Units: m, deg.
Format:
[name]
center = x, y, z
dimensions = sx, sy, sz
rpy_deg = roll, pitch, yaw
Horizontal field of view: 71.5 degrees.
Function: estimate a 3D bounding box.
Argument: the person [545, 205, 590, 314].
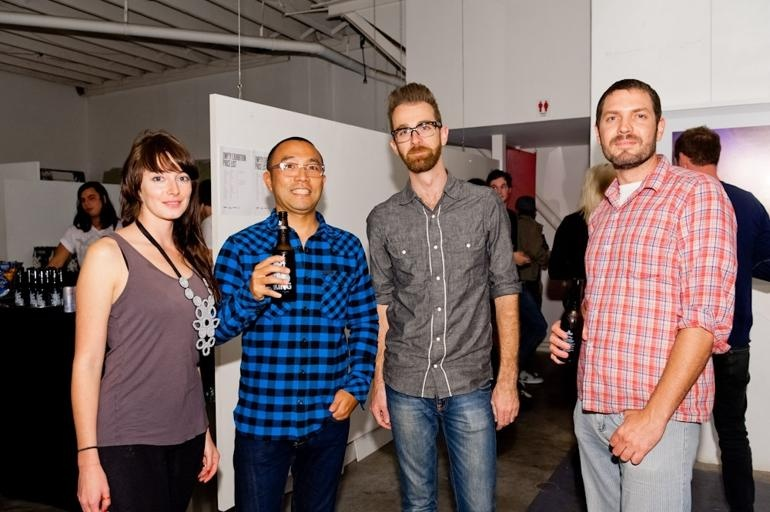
[person]
center = 1.301, 0.019, 3.717
dimensions = 0.216, 0.486, 0.710
rpy_deg = -3, 12, 23
